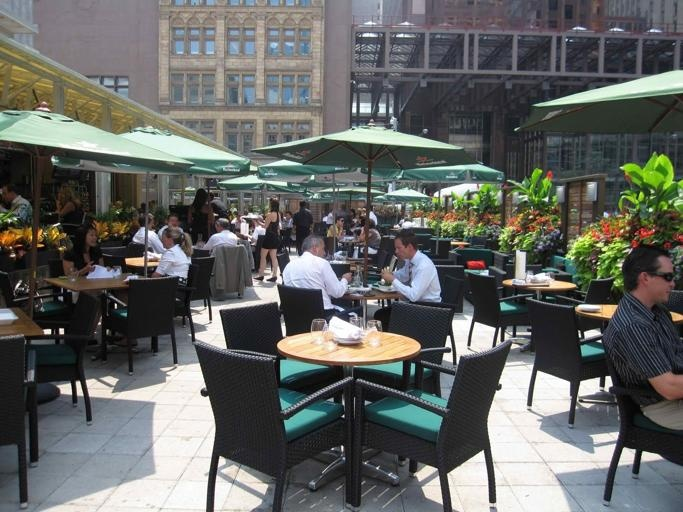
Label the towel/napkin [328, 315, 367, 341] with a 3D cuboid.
[{"bbox_3d":[0.071,0.673,6.058,0.233,0.090,0.230,8,5,-31],"label":"towel/napkin"}]

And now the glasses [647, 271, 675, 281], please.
[{"bbox_3d":[2.695,0.174,5.487,0.215,0.082,0.047,-2,7,-11],"label":"glasses"}]

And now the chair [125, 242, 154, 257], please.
[{"bbox_3d":[-3.810,-0.120,12.417,0.286,0.347,0.295,3,7,7],"label":"chair"}]

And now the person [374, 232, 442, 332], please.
[{"bbox_3d":[0.885,0.508,8.498,0.882,1.497,0.704,0,9,-16],"label":"person"}]

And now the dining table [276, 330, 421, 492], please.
[{"bbox_3d":[0.121,1.350,6.120,1.375,1.167,1.323,1,4,39],"label":"dining table"}]

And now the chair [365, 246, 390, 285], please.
[{"bbox_3d":[0.702,0.184,12.911,0.475,0.704,0.556,6,12,-22],"label":"chair"}]

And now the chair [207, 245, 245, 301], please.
[{"bbox_3d":[-2.275,0.304,13.425,0.952,1.026,0.819,-1,9,-10],"label":"chair"}]

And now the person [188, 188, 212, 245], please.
[{"bbox_3d":[-3.124,-0.619,14.547,0.457,1.591,0.547,3,1,-2],"label":"person"}]

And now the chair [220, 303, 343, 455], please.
[{"bbox_3d":[-0.780,1.051,6.269,1.060,1.395,1.003,2,5,34],"label":"chair"}]

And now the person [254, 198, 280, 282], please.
[{"bbox_3d":[-1.859,-0.410,16.494,0.723,2.080,0.592,3,8,-9],"label":"person"}]

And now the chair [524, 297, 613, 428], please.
[{"bbox_3d":[2.564,1.132,7.328,0.730,1.298,0.701,-5,8,-31],"label":"chair"}]

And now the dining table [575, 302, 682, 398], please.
[{"bbox_3d":[3.042,0.757,6.843,1.373,0.998,1.373,-1,3,17],"label":"dining table"}]

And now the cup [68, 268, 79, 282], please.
[{"bbox_3d":[-3.766,0.270,9.173,0.181,0.149,0.195,1,-6,0],"label":"cup"}]

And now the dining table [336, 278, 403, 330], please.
[{"bbox_3d":[0.375,0.607,8.412,0.642,0.401,0.636,0,3,-4],"label":"dining table"}]

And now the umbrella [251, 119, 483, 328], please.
[{"bbox_3d":[0.348,-0.624,9.191,2.556,2.181,2.520,3,3,26],"label":"umbrella"}]

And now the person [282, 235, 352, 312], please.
[{"bbox_3d":[-0.304,0.361,8.162,0.884,1.217,0.732,-3,4,-12],"label":"person"}]

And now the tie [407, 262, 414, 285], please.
[{"bbox_3d":[0.926,0.232,8.725,0.054,0.219,0.208,4,-11,9],"label":"tie"}]
